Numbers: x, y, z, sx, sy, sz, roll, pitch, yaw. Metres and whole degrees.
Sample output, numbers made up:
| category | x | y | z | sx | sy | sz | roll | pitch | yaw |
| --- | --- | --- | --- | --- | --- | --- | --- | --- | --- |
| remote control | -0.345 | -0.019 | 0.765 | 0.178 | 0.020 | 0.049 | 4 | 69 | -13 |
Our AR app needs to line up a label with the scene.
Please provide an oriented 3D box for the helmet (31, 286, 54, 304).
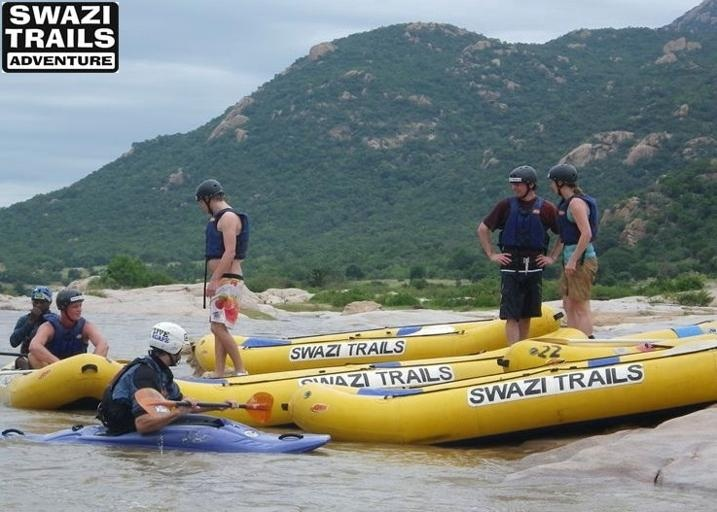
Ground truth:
| category | x | y | z | sx | sy | sz | roll | pitch | yaw |
| --- | --- | --- | --- | --- | --- | --- | --- | --- | --- |
| helmet | -8.856 | 1.078 | 34.294 | 0.441 | 0.294 | 0.592 | 4 | -10 | -9 |

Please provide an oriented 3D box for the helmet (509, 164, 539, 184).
| category | x | y | z | sx | sy | sz | roll | pitch | yaw |
| --- | --- | --- | --- | --- | --- | --- | --- | --- | --- |
| helmet | 4.516 | -2.250 | 33.658 | 0.719 | 0.440 | 0.498 | -8 | 11 | -9 |

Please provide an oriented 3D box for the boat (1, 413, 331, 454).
| category | x | y | z | sx | sy | sz | roll | pitch | yaw |
| --- | --- | --- | --- | --- | --- | --- | --- | --- | --- |
| boat | -4.980 | 4.667 | 31.944 | 7.140 | 0.656 | 1.092 | 1 | 1 | 2 |

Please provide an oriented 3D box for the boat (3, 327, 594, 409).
| category | x | y | z | sx | sy | sz | roll | pitch | yaw |
| --- | --- | --- | --- | --- | --- | --- | --- | --- | --- |
| boat | -2.755 | 2.828 | 34.296 | 12.425 | 1.439 | 5.205 | -3 | -1 | 6 |

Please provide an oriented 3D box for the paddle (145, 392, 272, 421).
| category | x | y | z | sx | sy | sz | roll | pitch | yaw |
| --- | --- | --- | --- | --- | --- | --- | --- | --- | --- |
| paddle | -4.140 | 3.876 | 31.894 | 3.227 | 0.352 | 0.965 | 1 | -1 | -4 |

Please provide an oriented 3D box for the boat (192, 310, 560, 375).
| category | x | y | z | sx | sy | sz | roll | pitch | yaw |
| --- | --- | --- | --- | --- | --- | --- | --- | --- | --- |
| boat | -0.093 | 2.554 | 35.084 | 8.290 | 1.003 | 3.474 | -4 | -1 | 1 |
